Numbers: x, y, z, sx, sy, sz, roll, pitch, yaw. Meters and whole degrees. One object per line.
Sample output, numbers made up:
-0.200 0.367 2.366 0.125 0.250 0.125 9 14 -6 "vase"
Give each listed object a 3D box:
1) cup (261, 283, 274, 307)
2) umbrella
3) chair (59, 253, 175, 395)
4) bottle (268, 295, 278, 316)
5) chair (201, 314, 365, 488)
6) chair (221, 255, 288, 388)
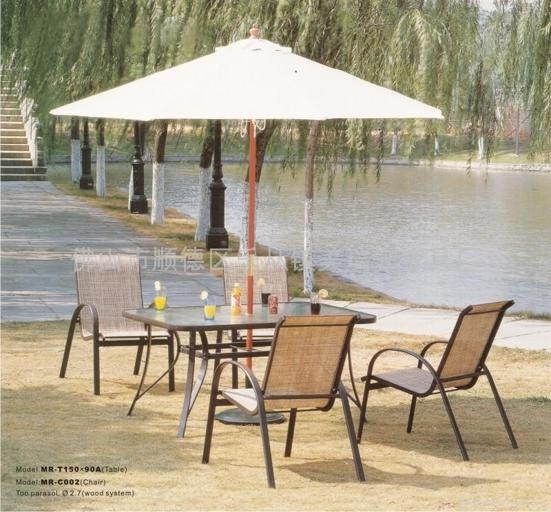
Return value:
-0.097 0.380 12.957 0.141 0.272 0.156 1 -1 -4 "cup"
-0.395 -0.639 18.181 4.313 3.711 4.762 1 6 4 "umbrella"
-1.554 0.688 13.314 0.803 1.481 0.920 -1 -2 -29 "chair"
-0.039 0.473 12.301 0.113 0.255 0.124 0 0 -7 "bottle"
0.074 1.165 11.271 1.006 1.603 1.193 -3 9 -39 "chair"
-0.096 0.519 13.552 0.797 1.575 1.077 1 -1 -14 "chair"
